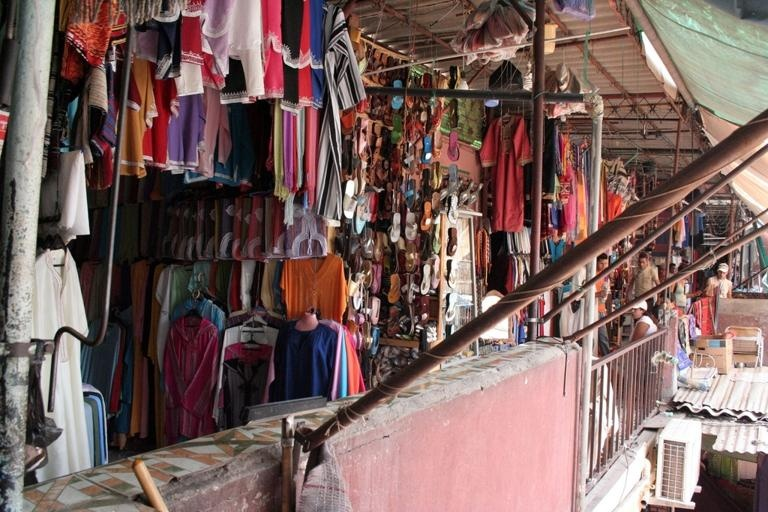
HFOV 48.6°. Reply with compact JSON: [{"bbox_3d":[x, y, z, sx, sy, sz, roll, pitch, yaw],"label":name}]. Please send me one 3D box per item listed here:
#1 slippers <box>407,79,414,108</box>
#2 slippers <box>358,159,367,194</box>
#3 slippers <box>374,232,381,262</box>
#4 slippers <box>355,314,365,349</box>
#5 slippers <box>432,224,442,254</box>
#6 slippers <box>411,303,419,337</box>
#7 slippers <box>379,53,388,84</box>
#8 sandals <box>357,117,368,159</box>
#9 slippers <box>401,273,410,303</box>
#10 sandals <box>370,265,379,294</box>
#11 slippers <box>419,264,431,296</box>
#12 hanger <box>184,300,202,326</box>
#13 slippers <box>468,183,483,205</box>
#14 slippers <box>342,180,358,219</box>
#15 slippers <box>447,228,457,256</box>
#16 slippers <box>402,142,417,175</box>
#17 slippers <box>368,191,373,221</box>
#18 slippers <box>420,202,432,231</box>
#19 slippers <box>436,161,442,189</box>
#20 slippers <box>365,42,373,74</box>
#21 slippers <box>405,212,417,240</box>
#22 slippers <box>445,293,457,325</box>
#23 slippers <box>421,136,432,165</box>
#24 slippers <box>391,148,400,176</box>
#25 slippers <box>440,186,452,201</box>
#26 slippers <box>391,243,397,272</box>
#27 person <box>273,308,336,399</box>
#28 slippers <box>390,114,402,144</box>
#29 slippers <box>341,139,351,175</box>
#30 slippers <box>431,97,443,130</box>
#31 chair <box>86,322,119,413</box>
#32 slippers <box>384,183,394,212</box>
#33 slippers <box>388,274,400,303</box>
[{"bbox_3d":[0.250,-1.568,8.235,0.058,0.265,0.091,1,11,1],"label":"slippers"},{"bbox_3d":[-0.184,-0.716,7.731,0.072,0.275,0.060,0,5,-12],"label":"slippers"},{"bbox_3d":[-0.060,-0.096,8.401,0.067,0.276,0.085,3,2,-7],"label":"slippers"},{"bbox_3d":[-0.213,0.667,7.706,0.046,0.268,0.122,0,-6,-7],"label":"slippers"},{"bbox_3d":[0.536,-0.181,8.583,0.086,0.304,0.058,-4,0,-39],"label":"slippers"},{"bbox_3d":[0.301,0.638,8.499,0.093,0.302,0.078,3,-1,-7],"label":"slippers"},{"bbox_3d":[-0.001,-1.971,8.866,0.053,0.264,0.060,2,-10,21],"label":"slippers"},{"bbox_3d":[-0.180,-1.071,7.724,0.088,0.406,0.136,1,-2,-8],"label":"sandals"},{"bbox_3d":[0.213,0.299,8.470,0.105,0.259,0.023,-2,-5,43],"label":"slippers"},{"bbox_3d":[-0.080,0.216,8.352,0.070,0.244,0.101,2,-1,11],"label":"sandals"},{"bbox_3d":[0.413,0.229,8.500,0.111,0.295,0.045,0,6,-35],"label":"slippers"},{"bbox_3d":[-1.660,0.506,7.461,0.172,0.192,0.073,0,-4,27],"label":"hanger"},{"bbox_3d":[1.068,-0.735,9.832,0.136,0.064,0.517,17,36,11],"label":"slippers"},{"bbox_3d":[-0.294,-0.502,7.556,0.099,0.363,0.117,8,7,31],"label":"slippers"},{"bbox_3d":[0.719,-0.161,9.039,0.131,0.299,0.065,5,-5,-37],"label":"slippers"},{"bbox_3d":[0.250,-0.949,8.286,0.055,0.269,0.153,5,11,44],"label":"slippers"},{"bbox_3d":[-0.114,-0.472,8.059,0.050,0.215,0.074,3,7,11],"label":"slippers"},{"bbox_3d":[0.421,-0.402,8.520,0.117,0.311,0.068,2,-4,-5],"label":"slippers"},{"bbox_3d":[0.578,-0.836,8.732,0.073,0.276,0.094,0,-6,-10],"label":"slippers"},{"bbox_3d":[-0.157,-1.944,8.425,0.040,0.211,0.197,15,-29,5],"label":"slippers"},{"bbox_3d":[0.272,-0.300,8.437,0.107,0.277,0.069,-3,3,-15],"label":"slippers"},{"bbox_3d":[0.687,0.558,8.970,0.122,0.317,0.102,-4,12,-38],"label":"slippers"},{"bbox_3d":[0.433,-1.064,8.515,0.096,0.274,0.134,3,-4,-11],"label":"slippers"},{"bbox_3d":[0.111,-0.903,8.279,0.051,0.223,0.137,-2,4,-32],"label":"slippers"},{"bbox_3d":[0.646,-0.632,8.726,0.149,0.145,0.071,3,-4,-9],"label":"slippers"},{"bbox_3d":[0.111,0.015,8.500,0.059,0.233,0.068,2,-4,0],"label":"slippers"},{"bbox_3d":[-0.646,0.829,7.088,0.505,0.956,0.226,2,-4,8],"label":"person"},{"bbox_3d":[0.128,-1.241,8.315,0.096,0.287,0.035,1,1,15],"label":"slippers"},{"bbox_3d":[-0.338,-0.892,7.700,0.073,0.311,0.102,1,7,5],"label":"slippers"},{"bbox_3d":[0.524,-1.401,8.381,0.100,0.388,0.145,3,18,8],"label":"slippers"},{"bbox_3d":[-2.579,0.989,7.711,0.327,0.777,0.182,3,-4,-7],"label":"chair"},{"bbox_3d":[0.053,-0.564,8.250,0.069,0.291,0.088,-1,1,11],"label":"slippers"},{"bbox_3d":[0.103,0.311,8.520,0.128,0.297,0.077,3,-4,-15],"label":"slippers"}]
